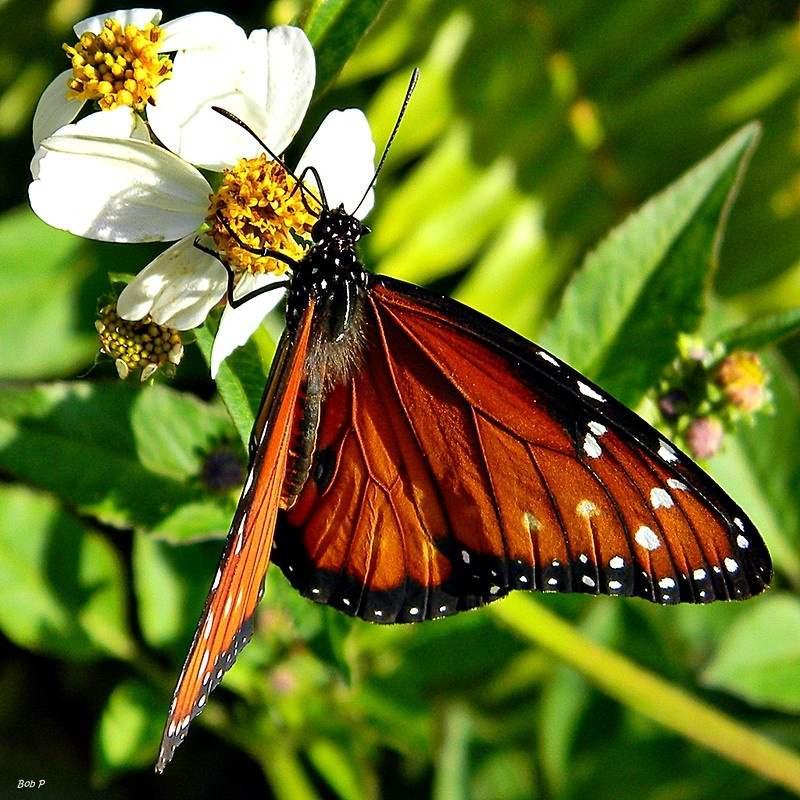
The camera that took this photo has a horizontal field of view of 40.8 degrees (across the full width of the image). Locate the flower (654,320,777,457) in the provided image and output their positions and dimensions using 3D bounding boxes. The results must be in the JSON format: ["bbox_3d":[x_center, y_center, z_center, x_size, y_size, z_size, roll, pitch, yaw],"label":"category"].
[{"bbox_3d":[0.640,-0.018,2.219,0.090,0.246,0.245,-15,51,-44],"label":"flower"}]

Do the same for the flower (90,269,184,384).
[{"bbox_3d":[-0.470,-0.121,1.931,0.168,0.171,0.069,57,2,-1],"label":"flower"}]
